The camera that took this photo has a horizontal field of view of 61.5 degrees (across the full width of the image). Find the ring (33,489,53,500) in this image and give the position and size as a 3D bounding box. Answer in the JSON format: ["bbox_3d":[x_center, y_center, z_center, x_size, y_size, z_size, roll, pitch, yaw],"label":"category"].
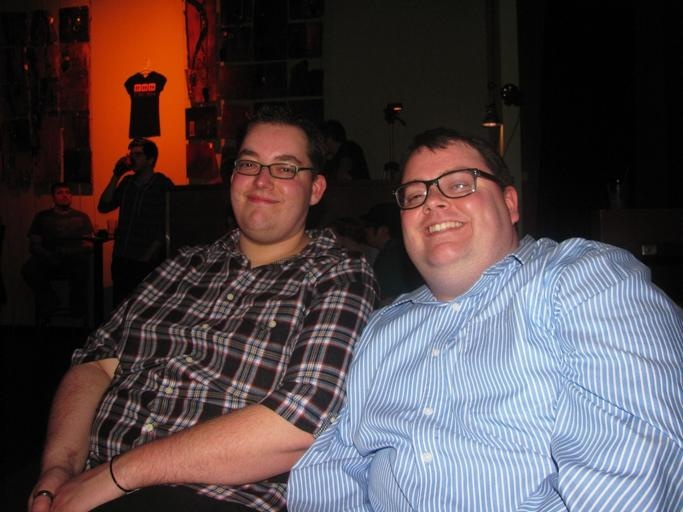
[{"bbox_3d":[-1.038,0.830,1.994,0.067,0.026,0.023,0,10,-1],"label":"ring"}]

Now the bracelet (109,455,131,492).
[{"bbox_3d":[-0.775,0.762,1.997,0.056,0.120,0.109,-9,13,-43],"label":"bracelet"}]
